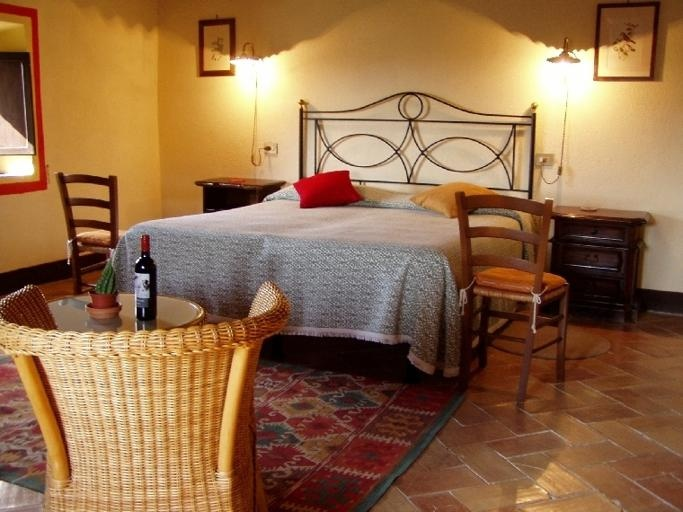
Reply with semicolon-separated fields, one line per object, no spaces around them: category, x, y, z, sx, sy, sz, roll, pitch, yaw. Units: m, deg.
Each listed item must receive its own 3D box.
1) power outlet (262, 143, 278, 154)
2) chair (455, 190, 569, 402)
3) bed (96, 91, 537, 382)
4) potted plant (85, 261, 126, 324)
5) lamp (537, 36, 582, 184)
power outlet;-0.714;-1.098;5.416;0.202;0.117;0.107;6;15;24
chair;1.114;0.122;3.284;0.652;1.110;1.324;8;16;23
bed;0.256;-0.074;4.091;2.700;1.600;2.618;4;9;28
potted plant;-0.948;0.137;2.130;0.141;0.202;0.146;12;8;38
lamp;1.816;-1.193;4.430;0.338;1.187;0.308;18;36;35
